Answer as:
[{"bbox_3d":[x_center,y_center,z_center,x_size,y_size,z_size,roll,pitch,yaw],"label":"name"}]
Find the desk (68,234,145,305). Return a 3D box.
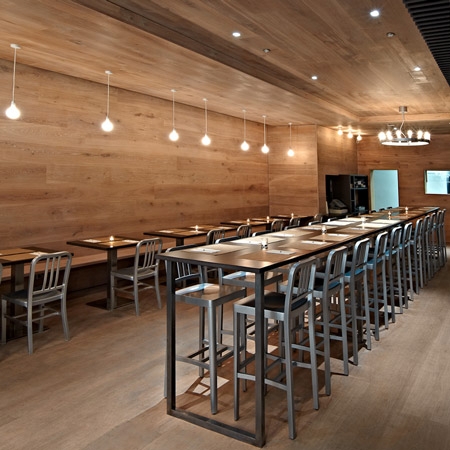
[{"bbox_3d":[-1.332,0.639,4.327,0.779,0.677,0.701,-11,-23,44],"label":"desk"}]

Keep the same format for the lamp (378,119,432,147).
[{"bbox_3d":[3.683,-1.932,7.607,1.105,0.565,1.012,2,6,6],"label":"lamp"}]

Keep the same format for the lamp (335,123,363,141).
[{"bbox_3d":[2.916,-2.249,8.830,0.858,0.224,0.857,18,19,31],"label":"lamp"}]
